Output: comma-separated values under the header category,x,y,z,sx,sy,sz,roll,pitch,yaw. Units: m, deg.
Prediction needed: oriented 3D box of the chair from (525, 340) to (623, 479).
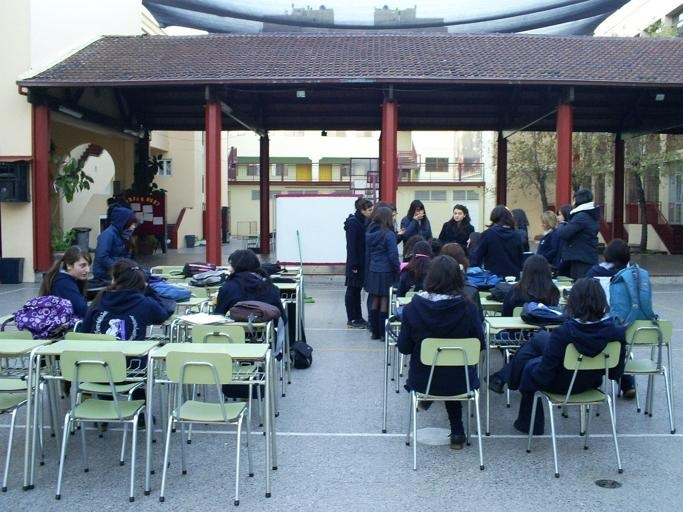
category,x,y,z,sx,sy,sz,roll,pitch,yaw
chair,2.244,1.289,7.358,0.859,1.128,1.505,2,12,14

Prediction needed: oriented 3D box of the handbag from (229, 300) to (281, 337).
category,x,y,z,sx,sy,sz,roll,pitch,yaw
handbag,-0.901,0.602,8.029,0.548,0.211,0.584,7,4,43

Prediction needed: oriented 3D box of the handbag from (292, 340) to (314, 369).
category,x,y,z,sx,sy,sz,roll,pitch,yaw
handbag,-0.460,1.216,9.657,0.273,0.343,0.356,-5,-1,2

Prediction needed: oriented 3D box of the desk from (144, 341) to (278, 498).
category,x,y,z,sx,sy,sz,roll,pitch,yaw
desk,-1.220,1.357,6.891,1.076,1.067,0.816,4,10,-12

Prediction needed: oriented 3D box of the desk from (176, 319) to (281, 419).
category,x,y,z,sx,sy,sz,roll,pitch,yaw
desk,-1.228,1.126,7.852,1.006,1.060,0.807,1,11,-4

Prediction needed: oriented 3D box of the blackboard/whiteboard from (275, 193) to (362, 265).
category,x,y,z,sx,sy,sz,roll,pitch,yaw
blackboard/whiteboard,-0.477,-0.530,15.076,1.408,1.069,0.116,0,2,-4

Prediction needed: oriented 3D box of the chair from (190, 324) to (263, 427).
category,x,y,z,sx,sy,sz,roll,pitch,yaw
chair,-1.069,1.170,7.138,0.595,0.979,0.673,-6,-3,-10

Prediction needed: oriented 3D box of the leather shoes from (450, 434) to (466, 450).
category,x,y,z,sx,sy,sz,roll,pitch,yaw
leather shoes,1.103,1.782,7.278,0.075,0.089,0.209,0,2,12

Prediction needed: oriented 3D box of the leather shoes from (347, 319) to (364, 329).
category,x,y,z,sx,sy,sz,roll,pitch,yaw
leather shoes,0.222,1.053,11.731,0.251,0.110,0.107,-1,2,-3

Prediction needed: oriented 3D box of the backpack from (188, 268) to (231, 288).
category,x,y,z,sx,sy,sz,roll,pitch,yaw
backpack,-1.714,0.300,10.216,0.407,0.135,0.345,0,4,-43

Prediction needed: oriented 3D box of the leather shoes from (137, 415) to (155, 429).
category,x,y,z,sx,sy,sz,roll,pitch,yaw
leather shoes,-1.947,1.673,7.709,0.124,0.143,0.365,0,-7,-4

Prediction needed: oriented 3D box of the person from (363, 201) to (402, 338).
category,x,y,z,sx,sy,sz,roll,pitch,yaw
person,0.565,0.266,10.645,0.465,1.912,0.798,0,11,1

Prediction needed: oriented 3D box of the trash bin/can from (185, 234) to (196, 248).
category,x,y,z,sx,sy,sz,roll,pitch,yaw
trash bin/can,-5.824,-0.593,29.552,0.426,0.595,0.489,0,0,-10

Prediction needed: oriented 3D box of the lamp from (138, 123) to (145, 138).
category,x,y,z,sx,sy,sz,roll,pitch,yaw
lamp,-5.866,-3.715,22.511,0.125,0.395,0.381,-1,11,-4

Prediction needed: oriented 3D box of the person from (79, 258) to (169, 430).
category,x,y,z,sx,sy,sz,roll,pitch,yaw
person,-2.221,0.992,7.947,1.036,1.968,0.623,-1,19,-7

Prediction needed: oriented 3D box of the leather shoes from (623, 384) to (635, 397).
category,x,y,z,sx,sy,sz,roll,pitch,yaw
leather shoes,3.164,1.499,8.451,0.089,0.066,0.123,-6,10,4

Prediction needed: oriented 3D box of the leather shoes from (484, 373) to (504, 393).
category,x,y,z,sx,sy,sz,roll,pitch,yaw
leather shoes,1.550,1.313,7.800,0.130,0.157,0.362,2,5,3

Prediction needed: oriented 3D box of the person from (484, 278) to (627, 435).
category,x,y,z,sx,sy,sz,roll,pitch,yaw
person,2.093,1.026,7.497,0.931,1.701,1.287,2,9,-30

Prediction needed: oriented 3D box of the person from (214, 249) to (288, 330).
category,x,y,z,sx,sy,sz,roll,pitch,yaw
person,-1.035,0.401,8.348,0.866,0.965,0.592,-8,12,-36

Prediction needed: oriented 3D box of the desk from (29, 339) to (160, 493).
category,x,y,z,sx,sy,sz,roll,pitch,yaw
desk,-2.227,1.345,7.061,1.173,1.131,1.210,1,11,-4

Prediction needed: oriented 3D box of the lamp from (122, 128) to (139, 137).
category,x,y,z,sx,sy,sz,roll,pitch,yaw
lamp,-6.111,-3.611,22.242,0.157,0.108,0.633,28,13,20

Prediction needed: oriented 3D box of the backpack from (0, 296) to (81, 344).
category,x,y,z,sx,sy,sz,roll,pitch,yaw
backpack,-3.026,0.617,7.802,0.453,0.262,0.605,15,13,22

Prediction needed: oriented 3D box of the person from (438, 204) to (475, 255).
category,x,y,z,sx,sy,sz,roll,pitch,yaw
person,1.835,-0.190,12.329,0.576,1.254,0.439,2,11,6
